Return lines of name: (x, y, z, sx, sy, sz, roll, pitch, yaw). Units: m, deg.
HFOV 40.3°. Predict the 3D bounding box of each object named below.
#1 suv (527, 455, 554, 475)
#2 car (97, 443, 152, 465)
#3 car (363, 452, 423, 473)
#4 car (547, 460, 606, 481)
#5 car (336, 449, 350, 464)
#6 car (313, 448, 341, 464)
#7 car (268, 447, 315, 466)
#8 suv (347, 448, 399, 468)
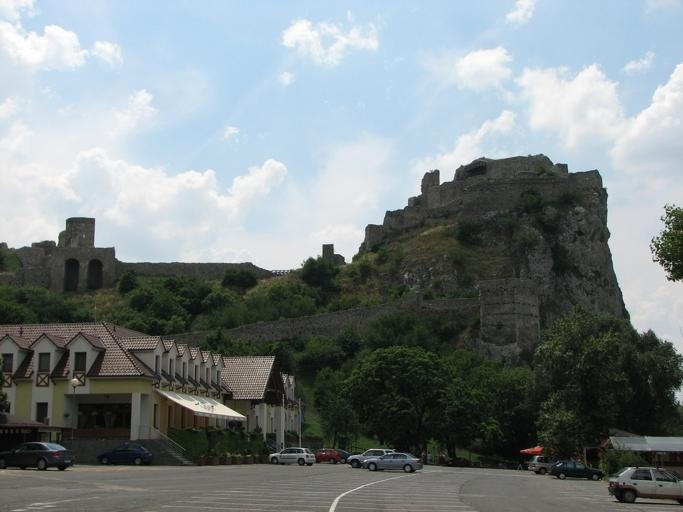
suv: (18.660, 19.431, 86.780, 1.998, 1.151, 1.249, -3, -7, -10)
car: (-16.217, 15.183, 70.230, 3.099, 1.487, 1.800, 3, -14, 4)
car: (4.401, 17.444, 78.533, 3.934, 1.411, 1.915, 2, -13, 8)
car: (20.076, 18.309, 79.502, 3.709, 1.356, 1.709, -2, -5, 7)
car: (0.274, 20.012, 92.839, 1.426, 0.728, 0.918, 5, -11, -3)
car: (-1.253, 19.521, 90.779, 2.102, 1.010, 1.347, 5, -12, 7)
car: (-4.197, 17.636, 81.849, 3.718, 1.642, 2.377, 0, -14, -4)
suv: (2.711, 18.378, 83.573, 4.195, 1.858, 2.048, 1, -10, -1)
